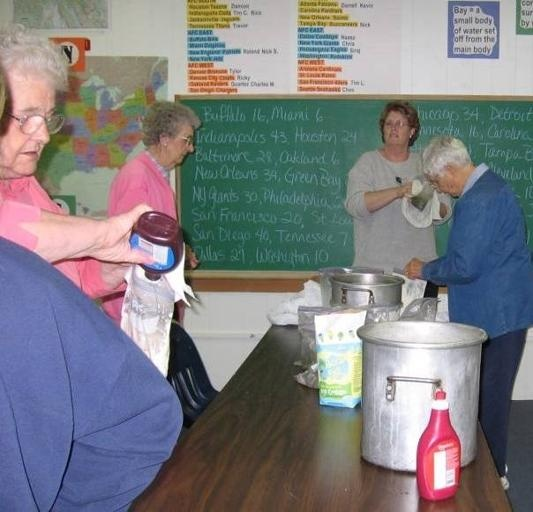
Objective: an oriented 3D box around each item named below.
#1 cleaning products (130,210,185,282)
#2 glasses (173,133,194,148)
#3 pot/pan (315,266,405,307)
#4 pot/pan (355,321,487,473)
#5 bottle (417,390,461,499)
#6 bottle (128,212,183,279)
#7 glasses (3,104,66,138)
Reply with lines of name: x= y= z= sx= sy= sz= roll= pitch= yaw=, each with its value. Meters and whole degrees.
cleaning products: x=-0.196 y=-0.005 z=0.949 sx=0.096 sy=0.153 sz=0.080 roll=16 pitch=49 yaw=-1
glasses: x=-0.390 y=-0.540 z=2.448 sx=0.027 sy=0.106 sz=0.094 roll=-2 pitch=5 yaw=29
pot/pan: x=0.238 y=0.086 z=1.429 sx=0.172 sy=0.070 sz=0.151 roll=-2 pitch=-1 yaw=24
pot/pan: x=0.251 y=0.228 z=0.941 sx=0.194 sy=0.245 sz=0.219 roll=0 pitch=0 yaw=5
bottle: x=0.266 y=0.282 z=0.804 sx=0.090 sy=0.171 sz=0.038 roll=-7 pitch=10 yaw=-33
bottle: x=-0.190 y=-0.017 z=0.900 sx=0.066 sy=0.103 sz=0.053 roll=13 pitch=45 yaw=2
glasses: x=-0.431 y=-0.260 z=0.964 sx=0.097 sy=0.040 sz=0.102 roll=9 pitch=9 yaw=26
